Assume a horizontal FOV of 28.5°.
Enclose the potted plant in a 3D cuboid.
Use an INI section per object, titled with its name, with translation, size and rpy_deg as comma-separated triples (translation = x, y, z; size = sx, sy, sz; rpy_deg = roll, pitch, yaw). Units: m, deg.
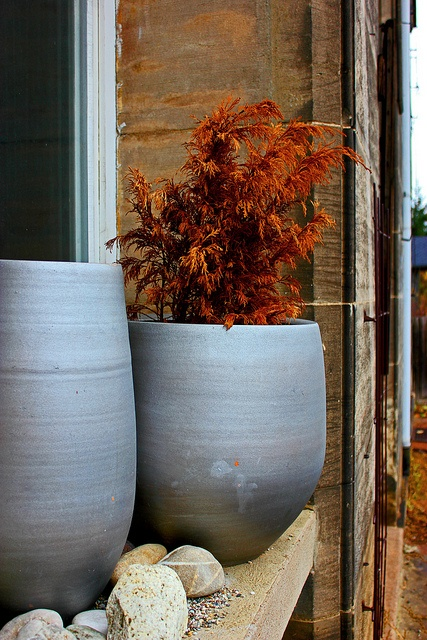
[potted plant]
translation = 0.033, -0.003, 1.399
size = 0.403, 0.733, 0.462
rpy_deg = 1, 6, 9
